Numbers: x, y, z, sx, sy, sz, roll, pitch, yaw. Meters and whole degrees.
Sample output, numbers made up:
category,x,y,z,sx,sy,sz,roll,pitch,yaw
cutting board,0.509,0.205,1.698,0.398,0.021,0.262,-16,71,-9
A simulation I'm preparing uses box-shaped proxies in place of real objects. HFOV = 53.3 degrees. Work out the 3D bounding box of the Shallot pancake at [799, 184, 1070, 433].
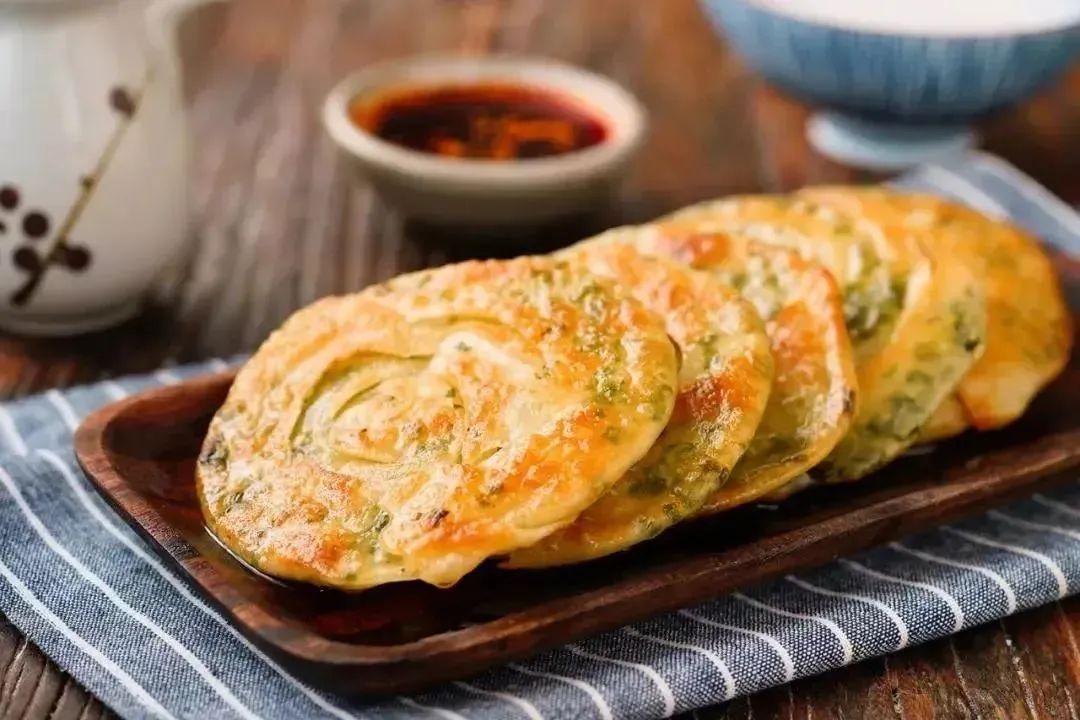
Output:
category,x,y,z,sx,sy,sz,roll,pitch,yaw
Shallot pancake,0.829,-0.036,2.047,0.456,0.121,0.442,7,46,-1

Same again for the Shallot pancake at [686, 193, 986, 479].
category,x,y,z,sx,sy,sz,roll,pitch,yaw
Shallot pancake,0.583,-0.037,1.871,0.443,0.068,0.477,13,76,-2
